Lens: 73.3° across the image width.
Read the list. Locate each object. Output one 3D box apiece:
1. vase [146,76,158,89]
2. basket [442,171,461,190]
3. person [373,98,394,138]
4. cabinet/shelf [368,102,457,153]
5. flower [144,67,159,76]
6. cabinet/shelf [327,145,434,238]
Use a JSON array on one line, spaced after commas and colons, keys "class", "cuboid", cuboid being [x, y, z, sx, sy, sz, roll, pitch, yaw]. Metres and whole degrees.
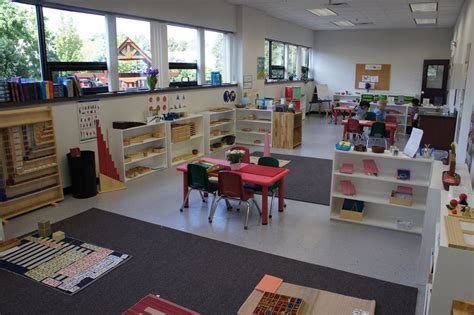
[{"class": "vase", "cuboid": [-2.306, -2.023, 8.610, 0.289, 0.380, 0.200, -2, 18, -3]}, {"class": "basket", "cuboid": [3.123, 0.307, 4.639, 0.256, 0.124, 0.326, 8, 36, 32]}, {"class": "person", "cuboid": [5.206, -1.452, 11.592, 0.748, 1.362, 0.603, 1, 28, -9]}, {"class": "cabinet/shelf", "cuboid": [5.470, -0.840, 10.036, 2.299, 0.821, 2.526, 13, 23, 37]}, {"class": "flower", "cuboid": [-2.318, -2.343, 8.667, 0.361, 0.190, 0.409, -5, 18, -14]}, {"class": "cabinet/shelf", "cuboid": [2.753, 0.664, 5.985, 1.493, 1.279, 0.501, 6, 8, 26]}]
